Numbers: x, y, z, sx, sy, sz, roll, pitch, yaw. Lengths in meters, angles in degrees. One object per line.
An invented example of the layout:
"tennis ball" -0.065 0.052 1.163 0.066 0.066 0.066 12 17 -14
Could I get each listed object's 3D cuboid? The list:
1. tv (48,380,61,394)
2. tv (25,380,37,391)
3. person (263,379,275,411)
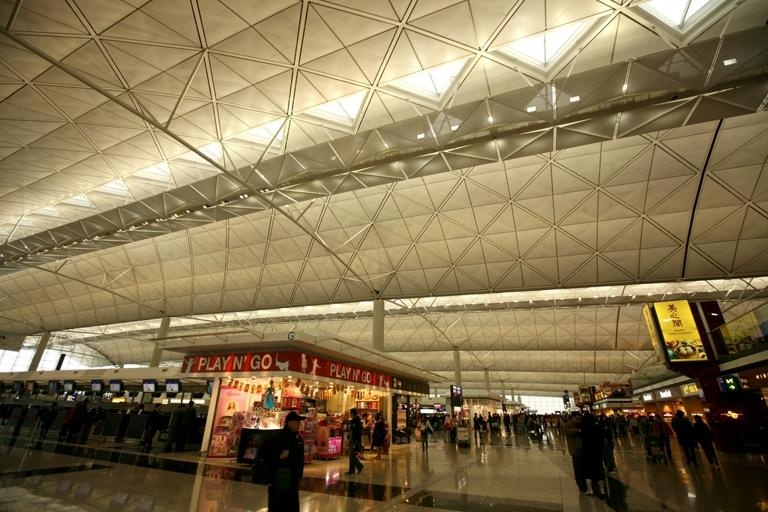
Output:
"tv" -32.737 12.935 46.196 1.127 0.921 3.358 16 -28 -29
"tv" -36.113 13.237 47.502 1.435 0.849 0.709 -9 -28 20
"person" -7.033 8.520 28.853 0.750 1.896 1.401 7 -27 -11
